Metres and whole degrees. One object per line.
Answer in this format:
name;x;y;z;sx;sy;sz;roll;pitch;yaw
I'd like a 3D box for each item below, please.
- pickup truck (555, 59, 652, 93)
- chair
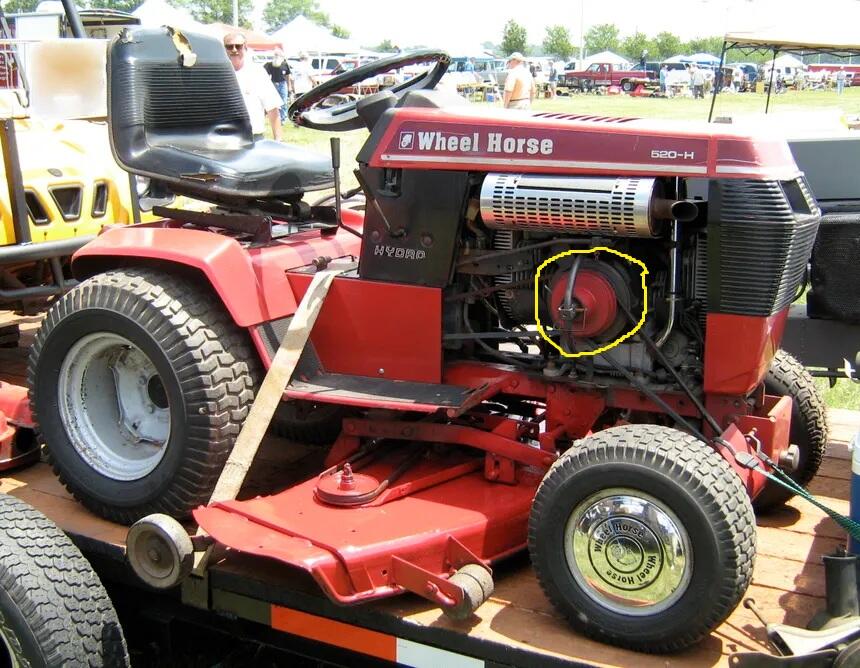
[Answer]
pickup truck;9.075;-13.402;37.979;4.348;1.185;2.203;5;18;18
chair;-0.967;-1.052;3.526;0.964;0.576;0.798;29;33;29
